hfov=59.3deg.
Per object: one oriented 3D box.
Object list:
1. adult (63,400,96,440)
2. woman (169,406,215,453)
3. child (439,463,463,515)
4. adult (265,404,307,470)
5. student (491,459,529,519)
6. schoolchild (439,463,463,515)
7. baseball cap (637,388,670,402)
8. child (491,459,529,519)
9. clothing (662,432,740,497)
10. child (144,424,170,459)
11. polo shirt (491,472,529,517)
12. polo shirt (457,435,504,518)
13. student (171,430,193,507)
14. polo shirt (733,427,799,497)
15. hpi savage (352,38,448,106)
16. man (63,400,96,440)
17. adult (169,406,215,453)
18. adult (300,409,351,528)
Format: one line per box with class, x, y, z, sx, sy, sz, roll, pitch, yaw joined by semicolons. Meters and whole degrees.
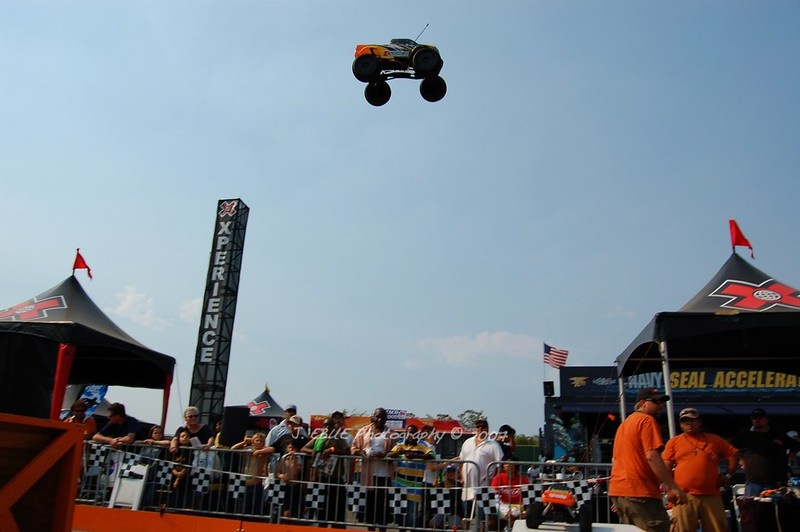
adult;-5.897;2.855;12.829;0.566;0.878;0.482;3;2;-14
woman;-3.840;3.114;12.955;0.731;0.990;0.584;-6;-23;-7
child;0.874;3.790;11.912;0.379;0.823;0.999;3;-20;4
adult;-2.346;3.127;13.267;0.637;0.420;1.360;20;-61;-39
student;1.805;3.624;11.495;0.680;0.999;0.577;3;-9;0
schoolchild;0.874;3.792;11.918;0.379;0.823;1.012;3;-20;4
baseball cap;3.613;1.850;10.111;0.348;0.183;0.261;-9;-21;19
child;1.814;3.627;11.510;0.663;0.991;0.553;5;-10;-6
clothing;4.553;2.981;10.612;1.132;0.988;0.571;-8;-25;24
child;-4.424;3.308;12.688;0.418;0.818;0.459;-2;-31;-8
polo shirt;1.783;3.767;11.427;0.524;0.687;0.264;0;-7;10
polo shirt;1.338;3.721;12.022;0.758;1.584;0.477;1;-16;17
student;-3.905;3.691;12.453;0.408;1.416;0.442;5;-13;-18
polo shirt;5.906;3.147;11.265;0.872;1.045;0.383;7;-20;-8
hpi savage;-0.113;-5.421;18.542;2.169;1.366;1.453;-2;-5;2
man;-5.894;2.864;12.824;0.558;0.858;0.482;2;0;-17
adult;-3.850;3.114;12.954;0.725;0.972;0.567;-3;-22;-15
adult;-1.421;3.504;12.169;0.704;1.673;0.538;10;-27;5
